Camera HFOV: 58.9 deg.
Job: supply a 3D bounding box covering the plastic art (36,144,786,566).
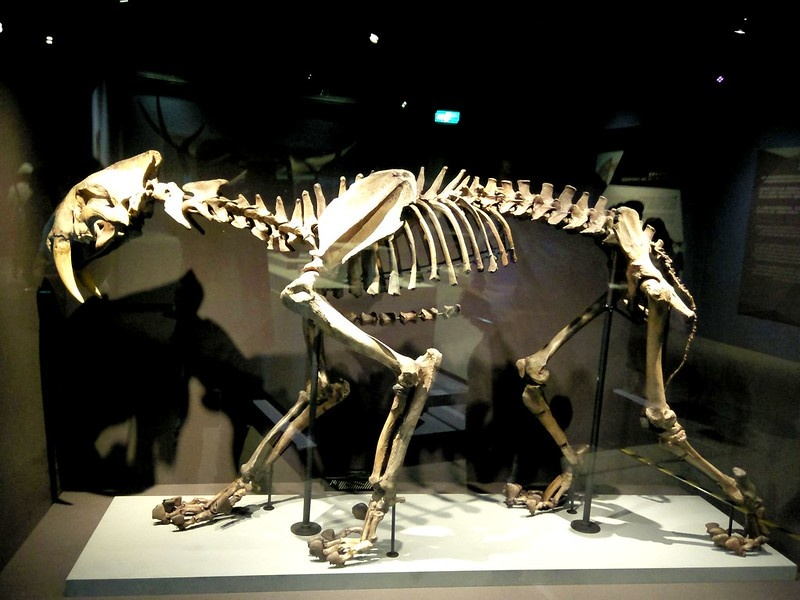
[{"bbox_3d":[0.030,0.300,4.112,3.989,2.132,1.054,1,15,-7],"label":"plastic art"}]
